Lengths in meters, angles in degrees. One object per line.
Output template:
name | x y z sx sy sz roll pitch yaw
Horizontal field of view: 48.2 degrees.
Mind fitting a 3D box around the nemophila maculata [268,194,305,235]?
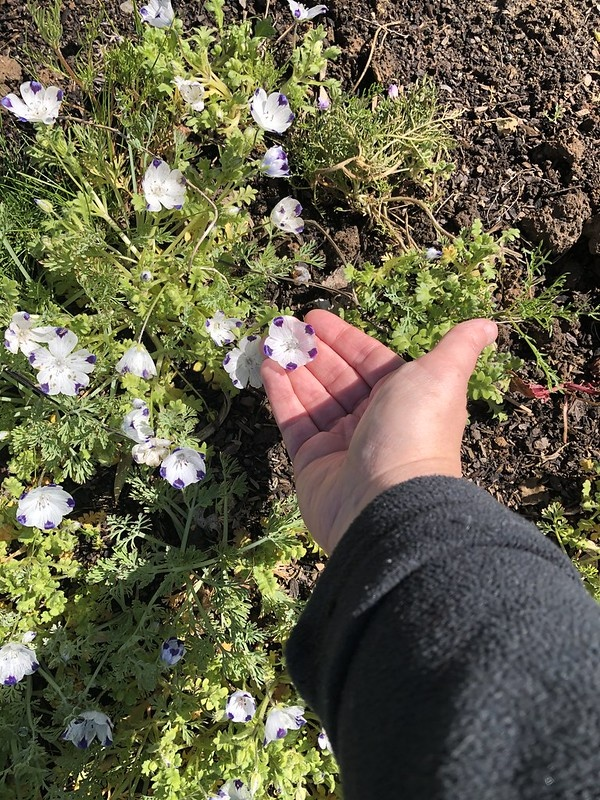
nemophila maculata | -0.036 -0.588 2.166 0.118 0.100 0.085 3 19 1

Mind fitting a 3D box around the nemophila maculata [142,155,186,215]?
nemophila maculata | -0.399 -0.621 1.968 0.146 0.133 0.115 -24 63 -24

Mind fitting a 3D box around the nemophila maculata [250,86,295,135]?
nemophila maculata | -0.104 -0.903 2.126 0.134 0.076 0.139 30 83 -24
